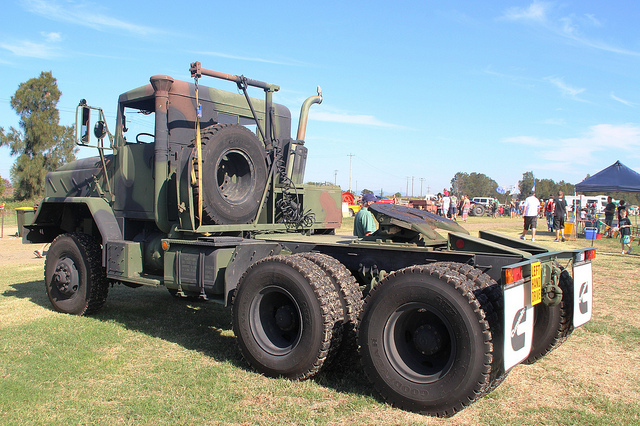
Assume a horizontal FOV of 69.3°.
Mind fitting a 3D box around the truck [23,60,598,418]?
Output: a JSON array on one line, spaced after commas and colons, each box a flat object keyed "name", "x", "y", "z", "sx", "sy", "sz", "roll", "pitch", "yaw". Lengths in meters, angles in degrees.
[{"name": "truck", "x": -0.454, "y": 0.623, "z": 8.371, "sx": 8.798, "sy": 4.762, "sz": 4.725, "roll": 7, "pitch": 3, "yaw": 32}]

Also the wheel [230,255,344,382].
[{"name": "wheel", "x": -0.483, "y": 1.383, "z": 6.320, "sx": 1.491, "sy": 1.746, "sz": 0.540, "roll": -1, "pitch": 5, "yaw": 29}]

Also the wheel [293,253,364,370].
[{"name": "wheel", "x": 0.085, "y": 1.282, "z": 5.990, "sx": 0.334, "sy": 1.197, "sz": 1.093, "roll": -5, "pitch": -18, "yaw": -43}]

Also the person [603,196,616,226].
[{"name": "person", "x": 13.391, "y": -0.117, "z": 21.382, "sx": 0.409, "sy": 1.400, "sz": 1.194, "roll": 6, "pitch": 12, "yaw": 31}]

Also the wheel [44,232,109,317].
[{"name": "wheel", "x": -4.370, "y": 1.112, "z": 8.357, "sx": 1.181, "sy": 1.515, "sz": 0.439, "roll": 3, "pitch": -2, "yaw": 27}]

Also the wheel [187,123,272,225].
[{"name": "wheel", "x": -1.473, "y": -0.597, "z": 7.579, "sx": 1.412, "sy": 1.601, "sz": 0.477, "roll": -5, "pitch": 6, "yaw": -37}]
